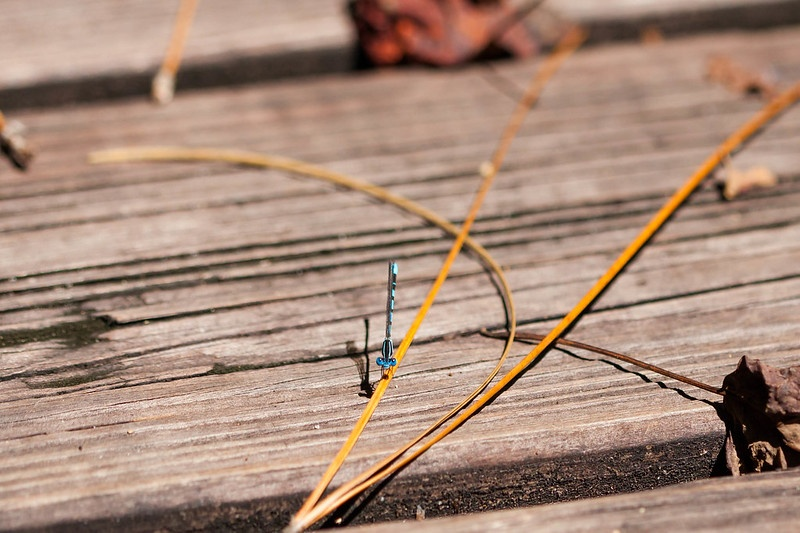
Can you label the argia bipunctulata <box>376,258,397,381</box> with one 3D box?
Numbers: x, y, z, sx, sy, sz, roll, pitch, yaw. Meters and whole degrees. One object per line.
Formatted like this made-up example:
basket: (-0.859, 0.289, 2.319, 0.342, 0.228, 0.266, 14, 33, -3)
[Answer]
argia bipunctulata: (-0.058, 0.279, 6.618, 0.152, 0.559, 0.187, 5, -11, -1)
